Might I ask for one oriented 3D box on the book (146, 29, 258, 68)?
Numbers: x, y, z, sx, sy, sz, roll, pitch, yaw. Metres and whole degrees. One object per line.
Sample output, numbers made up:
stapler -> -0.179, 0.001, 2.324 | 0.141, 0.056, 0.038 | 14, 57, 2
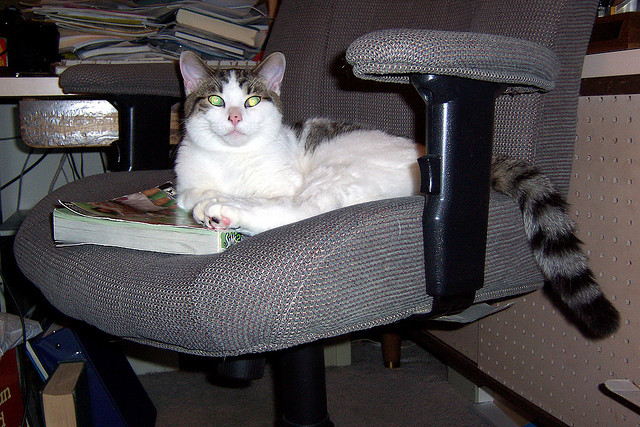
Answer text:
book -> -0.442, -0.596, 1.943 | 0.239, 0.058, 0.240 | 15, 10, 2

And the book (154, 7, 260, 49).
book -> -0.436, -0.684, 2.001 | 0.186, 0.045, 0.195 | 21, 7, 20

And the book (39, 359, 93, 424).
book -> -0.740, 0.527, 1.588 | 0.079, 0.183, 0.191 | -8, 15, -5

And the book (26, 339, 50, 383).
book -> -0.937, 0.482, 1.789 | 0.155, 0.024, 0.027 | 49, 32, 17

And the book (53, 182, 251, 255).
book -> -0.369, 0.011, 1.316 | 0.430, 0.100, 0.331 | 8, 17, 22

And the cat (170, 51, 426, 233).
cat -> -0.090, -0.210, 1.551 | 0.514, 0.317, 0.667 | 12, 21, 30
